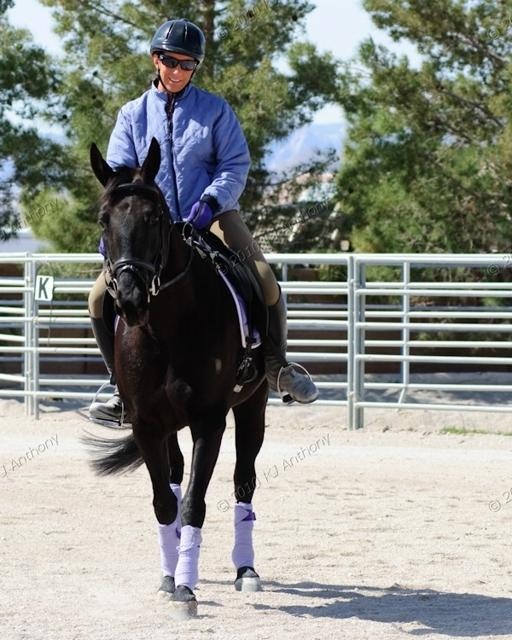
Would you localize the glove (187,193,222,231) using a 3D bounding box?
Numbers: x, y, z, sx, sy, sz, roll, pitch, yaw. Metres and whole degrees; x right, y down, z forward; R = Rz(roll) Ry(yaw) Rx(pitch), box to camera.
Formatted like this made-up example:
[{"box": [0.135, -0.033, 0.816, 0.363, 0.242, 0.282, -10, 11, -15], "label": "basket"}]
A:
[{"box": [-0.309, -0.645, 7.590, 0.159, 0.208, 0.107, 36, 13, 24], "label": "glove"}]

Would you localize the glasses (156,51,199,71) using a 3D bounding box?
[{"box": [-0.470, -1.576, 7.676, 0.264, 0.111, 0.092, -2, 8, -22], "label": "glasses"}]

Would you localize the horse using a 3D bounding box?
[{"box": [-0.688, 0.578, 8.271, 1.546, 2.541, 3.503, 1, -13, 1], "label": "horse"}]
